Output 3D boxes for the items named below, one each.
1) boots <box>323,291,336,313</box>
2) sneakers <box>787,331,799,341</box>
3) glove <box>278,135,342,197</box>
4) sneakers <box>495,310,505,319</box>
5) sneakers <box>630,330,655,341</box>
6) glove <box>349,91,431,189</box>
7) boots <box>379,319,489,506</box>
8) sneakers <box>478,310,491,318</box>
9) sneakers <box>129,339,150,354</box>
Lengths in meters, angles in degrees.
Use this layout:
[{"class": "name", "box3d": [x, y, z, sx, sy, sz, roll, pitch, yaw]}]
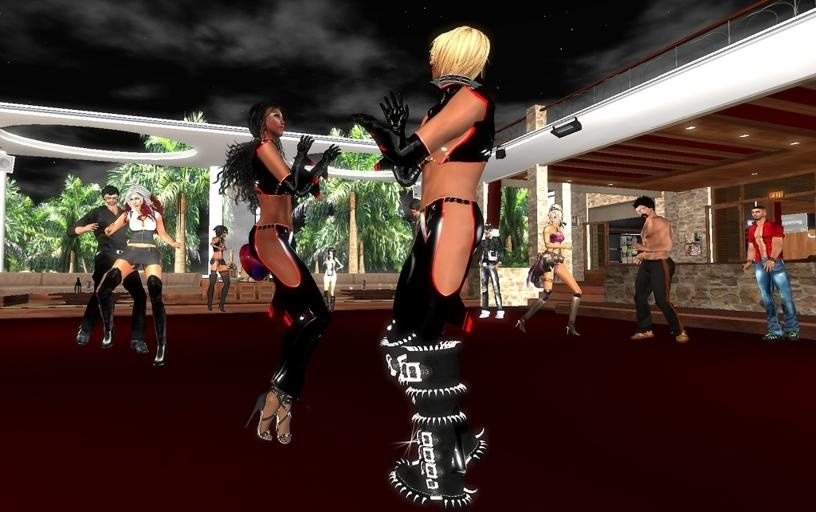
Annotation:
[{"class": "boots", "box3d": [-2.096, 1.233, 12.193, 0.231, 0.499, 1.253, -1, 5, -11]}, {"class": "sneakers", "box3d": [5.679, 1.169, 6.550, 0.110, 0.063, 0.176, 2, 2, 22]}, {"class": "glove", "box3d": [-0.735, -0.672, 3.342, 0.295, 0.444, 0.367, -4, 6, -39]}, {"class": "sneakers", "box3d": [2.077, 1.300, 9.892, 0.169, 0.112, 0.280, -1, -5, 5]}, {"class": "sneakers", "box3d": [3.695, 1.231, 6.971, 0.450, 0.167, 0.142, -1, -3, -10]}, {"class": "glove", "box3d": [-0.102, -0.736, 2.899, 0.559, 0.549, 0.187, -39, 1, -6]}, {"class": "boots", "box3d": [0.180, 0.970, 2.957, 0.679, 1.129, 0.489, 0, 4, 5]}, {"class": "sneakers", "box3d": [1.749, 1.312, 10.103, 0.221, 0.148, 0.370, -2, -8, 16]}, {"class": "sneakers", "box3d": [-3.463, 1.168, 5.776, 0.142, 0.145, 0.373, 2, -5, -36]}]
